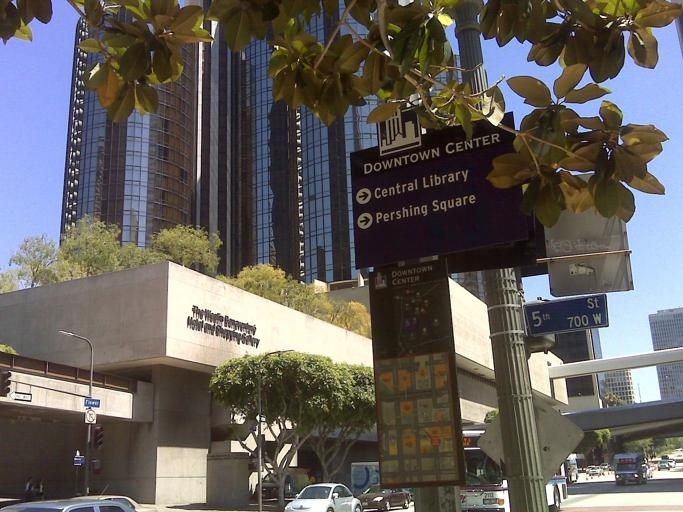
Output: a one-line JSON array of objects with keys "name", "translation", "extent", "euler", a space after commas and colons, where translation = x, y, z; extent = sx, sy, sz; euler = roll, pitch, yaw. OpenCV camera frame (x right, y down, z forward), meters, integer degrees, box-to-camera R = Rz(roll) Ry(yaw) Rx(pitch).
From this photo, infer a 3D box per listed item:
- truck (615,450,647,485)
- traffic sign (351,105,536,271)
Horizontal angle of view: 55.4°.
[{"name": "truck", "translation": [25.221, 18.424, 56.989], "extent": [2.362, 2.648, 4.610], "euler": [-5, -20, 19]}, {"name": "traffic sign", "translation": [0.998, -0.609, 6.269], "extent": [1.520, 1.194, 0.215], "euler": [-5, -4, 29]}]
